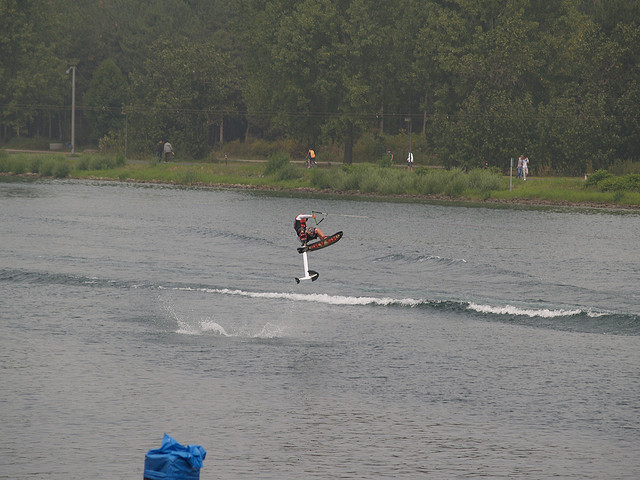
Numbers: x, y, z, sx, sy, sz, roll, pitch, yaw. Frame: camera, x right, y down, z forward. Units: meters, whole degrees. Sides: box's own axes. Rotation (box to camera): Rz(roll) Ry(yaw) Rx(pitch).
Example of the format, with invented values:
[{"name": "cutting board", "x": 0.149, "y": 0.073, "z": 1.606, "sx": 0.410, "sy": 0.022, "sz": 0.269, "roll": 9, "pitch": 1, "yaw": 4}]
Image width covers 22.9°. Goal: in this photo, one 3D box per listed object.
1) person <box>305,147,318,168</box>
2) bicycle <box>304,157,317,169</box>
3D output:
[{"name": "person", "x": -0.789, "y": -6.936, "z": 133.150, "sx": 0.901, "sy": 1.063, "sz": 1.649, "roll": -1, "pitch": 1, "yaw": 4}, {"name": "bicycle", "x": -0.801, "y": -6.430, "z": 134.382, "sx": 0.620, "sy": 0.679, "sz": 1.017, "roll": -1, "pitch": 0, "yaw": 15}]
